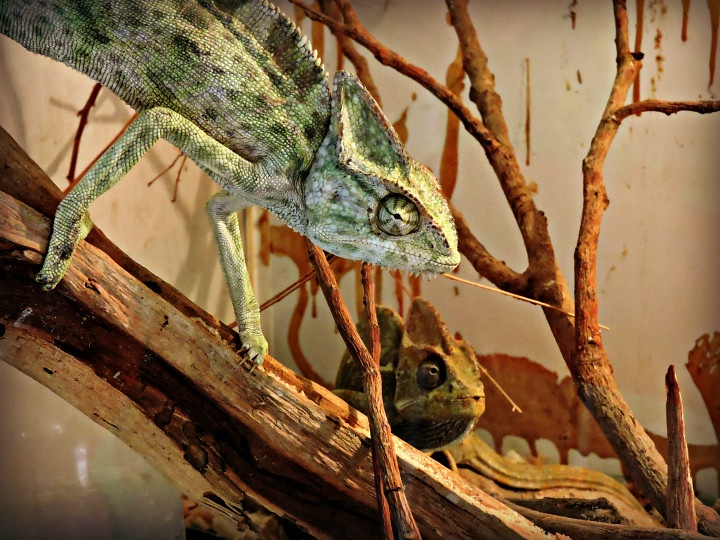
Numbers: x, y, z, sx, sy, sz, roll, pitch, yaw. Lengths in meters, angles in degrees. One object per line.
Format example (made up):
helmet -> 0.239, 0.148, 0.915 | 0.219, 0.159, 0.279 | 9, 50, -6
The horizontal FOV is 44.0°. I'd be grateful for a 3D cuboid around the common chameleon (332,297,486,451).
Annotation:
common chameleon -> 0.166, 0.332, 2.908 | 0.352, 0.279, 0.568 | 18, 6, -26
